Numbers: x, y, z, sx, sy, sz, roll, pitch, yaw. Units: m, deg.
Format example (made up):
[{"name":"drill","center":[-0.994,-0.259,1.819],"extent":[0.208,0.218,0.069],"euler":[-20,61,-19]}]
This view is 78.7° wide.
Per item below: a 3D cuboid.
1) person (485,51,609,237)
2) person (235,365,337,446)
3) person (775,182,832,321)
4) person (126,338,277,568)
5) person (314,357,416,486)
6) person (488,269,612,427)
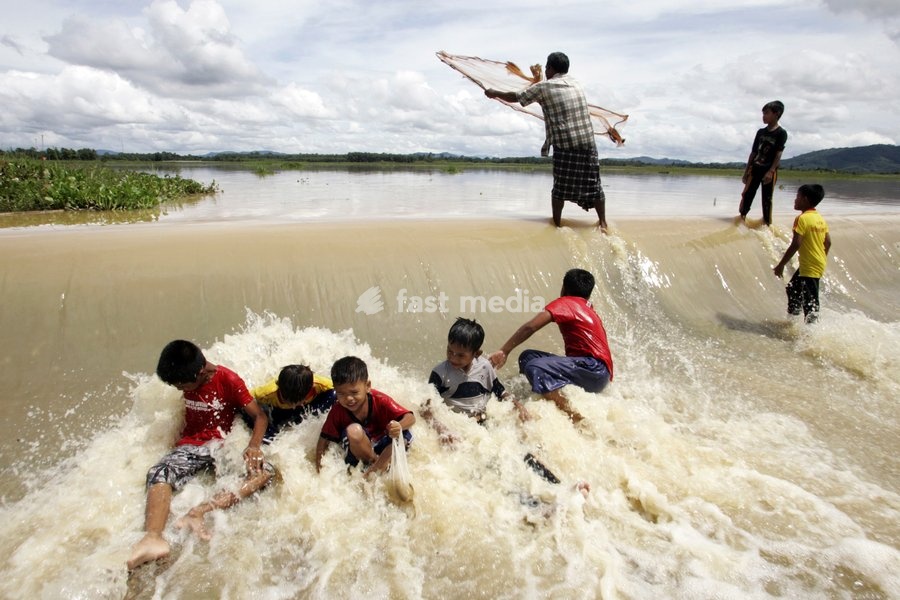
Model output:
[{"name":"person","center":[1.568,-2.127,7.612],"extent":[1.427,2.325,0.572],"euler":[6,22,16]},{"name":"person","center":[-1.470,0.904,5.271],"extent":[0.956,0.692,0.535],"euler":[-8,56,-25]},{"name":"person","center":[4.725,-0.628,7.237],"extent":[0.588,1.704,0.625],"euler":[14,26,34]},{"name":"person","center":[-2.099,1.114,4.757],"extent":[1.003,1.007,1.734],"euler":[8,29,1]},{"name":"person","center":[-0.770,1.033,4.936],"extent":[0.889,1.051,0.876],"euler":[-6,5,22]},{"name":"person","center":[1.125,0.550,5.977],"extent":[1.285,1.833,1.011],"euler":[0,-17,38]}]
